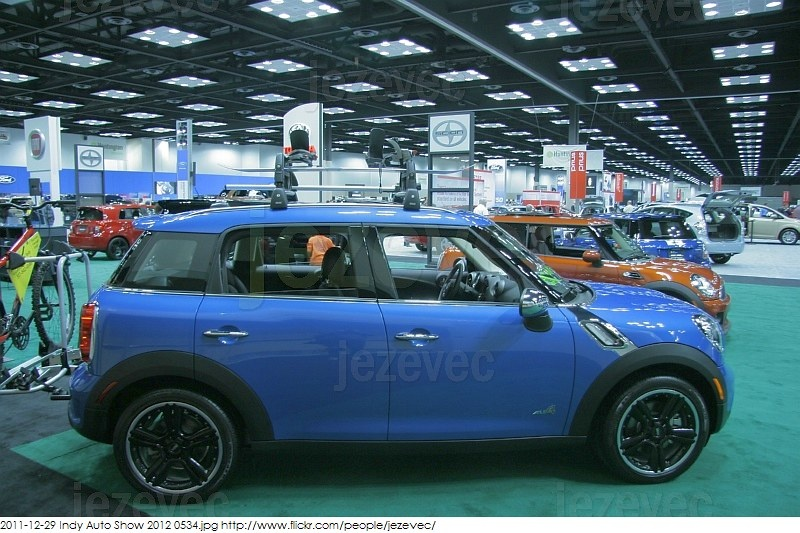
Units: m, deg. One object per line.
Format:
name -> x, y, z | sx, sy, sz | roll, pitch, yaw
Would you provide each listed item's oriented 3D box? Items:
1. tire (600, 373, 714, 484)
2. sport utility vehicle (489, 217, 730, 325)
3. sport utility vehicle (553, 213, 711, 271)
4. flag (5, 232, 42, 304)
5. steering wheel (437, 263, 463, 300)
tire -> 1.887, 1.300, 4.319 | 1.291, 0.788, 0.426 | 4, -7, -31
sport utility vehicle -> 3.100, -0.107, 7.932 | 3.704, 0.883, 1.754 | 0, 4, 12
sport utility vehicle -> 4.574, -0.580, 11.012 | 3.453, 0.994, 1.600 | 2, 3, 13
flag -> -3.705, 0.018, 5.334 | 0.297, 0.741, 0.726 | -10, 18, -30
steering wheel -> 0.435, 0.143, 4.751 | 0.072, 0.379, 0.427 | 39, -1, -5
